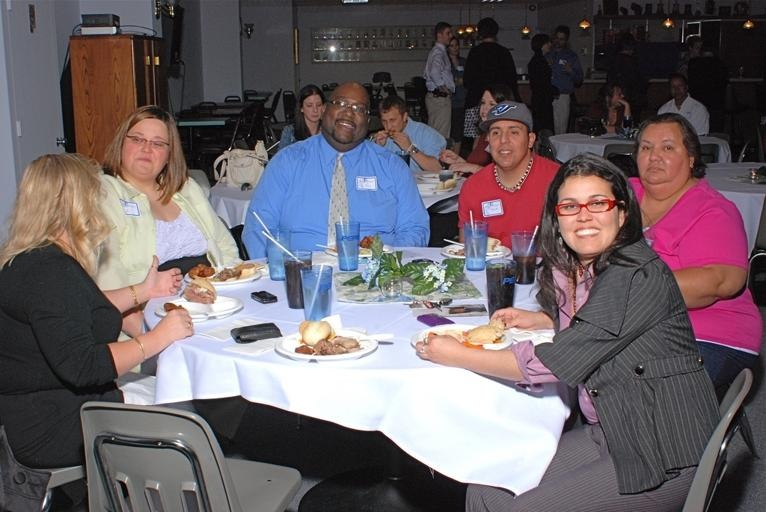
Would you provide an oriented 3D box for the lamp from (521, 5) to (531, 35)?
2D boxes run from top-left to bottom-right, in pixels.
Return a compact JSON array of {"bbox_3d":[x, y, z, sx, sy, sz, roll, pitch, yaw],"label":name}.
[{"bbox_3d":[4.047,-6.628,15.082,0.286,0.930,0.851,2,8,15],"label":"lamp"}]

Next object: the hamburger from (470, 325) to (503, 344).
[{"bbox_3d":[0.310,0.231,1.646,0.054,0.023,0.070,5,15,45],"label":"hamburger"}]

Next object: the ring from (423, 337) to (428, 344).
[{"bbox_3d":[0.129,0.250,1.593,0.015,0.012,0.016,-3,11,1],"label":"ring"}]

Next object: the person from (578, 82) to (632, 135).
[{"bbox_3d":[3.002,-1.774,7.151,0.552,0.924,0.612,2,6,27],"label":"person"}]

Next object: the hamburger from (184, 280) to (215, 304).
[{"bbox_3d":[-0.660,0.132,1.971,0.091,0.034,0.085,9,3,31],"label":"hamburger"}]

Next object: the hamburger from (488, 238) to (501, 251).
[{"bbox_3d":[0.528,-0.051,2.550,0.051,0.022,0.086,0,13,13],"label":"hamburger"}]

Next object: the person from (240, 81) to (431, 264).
[{"bbox_3d":[-0.243,-0.440,3.148,1.136,1.020,0.581,1,16,-12],"label":"person"}]

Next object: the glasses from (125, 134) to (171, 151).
[{"bbox_3d":[-1.173,-0.564,2.684,0.187,0.069,0.049,-2,8,-16],"label":"glasses"}]

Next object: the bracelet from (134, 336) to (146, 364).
[{"bbox_3d":[-0.775,0.312,1.751,0.017,0.062,0.065,-13,15,-11],"label":"bracelet"}]

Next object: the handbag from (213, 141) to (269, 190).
[{"bbox_3d":[-1.127,-0.697,4.405,0.451,0.405,0.452,1,10,10],"label":"handbag"}]

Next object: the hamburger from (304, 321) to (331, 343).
[{"bbox_3d":[-0.199,0.227,1.615,0.056,0.041,0.075,-3,3,13],"label":"hamburger"}]

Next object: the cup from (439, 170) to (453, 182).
[{"bbox_3d":[0.490,-0.625,4.198,0.096,0.088,0.097,0,10,0],"label":"cup"}]
